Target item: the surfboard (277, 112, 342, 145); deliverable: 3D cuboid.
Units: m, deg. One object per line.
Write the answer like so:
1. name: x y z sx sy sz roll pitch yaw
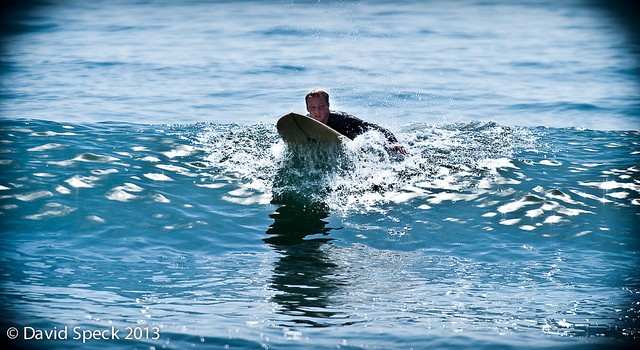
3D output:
1. surfboard: -0.339 -1.432 26.199 2.043 1.093 0.345 5 28 1
